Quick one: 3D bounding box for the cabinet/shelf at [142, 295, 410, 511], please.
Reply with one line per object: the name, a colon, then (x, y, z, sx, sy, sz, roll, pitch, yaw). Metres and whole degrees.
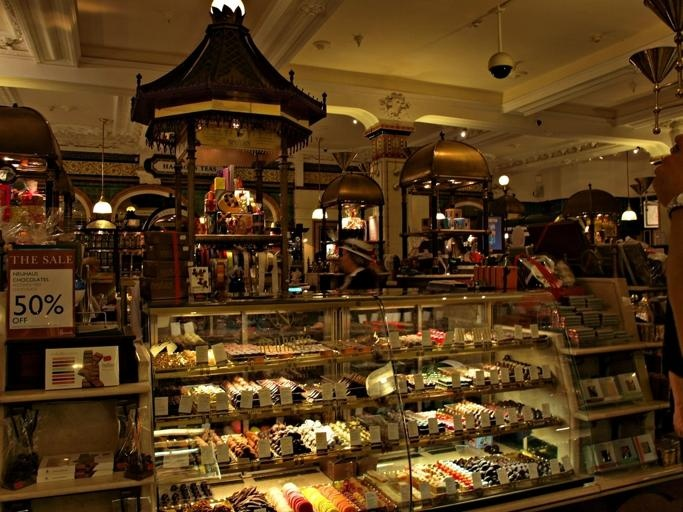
cabinet/shelf: (-0.480, 1.022, 3.710, 1.338, 1.168, 0.436, 0, -8, -19)

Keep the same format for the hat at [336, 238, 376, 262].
hat: (0.180, -0.019, 5.886, 0.320, 0.105, 0.288, 27, -7, -32)

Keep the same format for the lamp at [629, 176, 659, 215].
lamp: (7.442, -1.514, 13.666, 0.430, 1.000, 3.911, -3, -3, 30)

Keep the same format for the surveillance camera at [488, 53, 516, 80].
surveillance camera: (1.875, -2.287, 6.558, 0.237, 0.339, 0.289, -3, -4, 33)

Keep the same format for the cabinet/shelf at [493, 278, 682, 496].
cabinet/shelf: (1.697, 0.985, 4.861, 1.231, 1.897, 1.358, -1, -7, -8)
